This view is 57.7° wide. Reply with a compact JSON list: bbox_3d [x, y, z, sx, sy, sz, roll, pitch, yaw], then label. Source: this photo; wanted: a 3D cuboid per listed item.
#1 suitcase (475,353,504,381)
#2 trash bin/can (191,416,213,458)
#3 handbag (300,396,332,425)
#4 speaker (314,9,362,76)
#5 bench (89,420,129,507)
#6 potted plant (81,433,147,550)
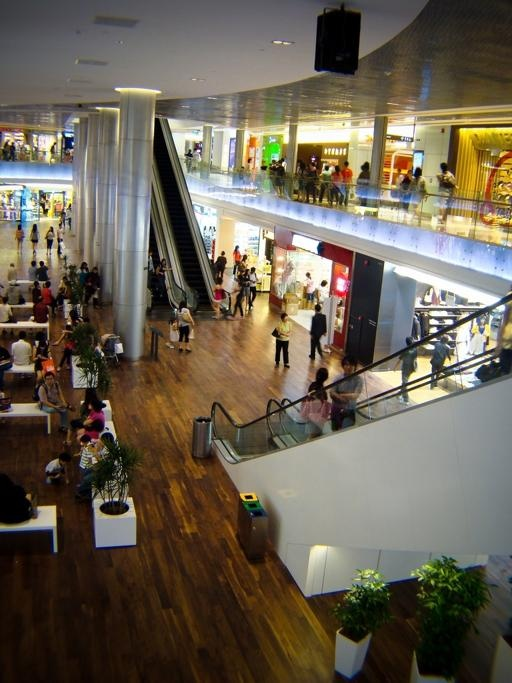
[{"bbox_3d":[1.435,0.163,2.876,0.039,0.151,0.109,19,31,-35],"label":"suitcase"},{"bbox_3d":[-0.861,1.578,7.622,0.329,0.658,0.218,6,5,-6],"label":"trash bin/can"},{"bbox_3d":[0.632,0.711,4.797,0.171,0.292,0.139,-3,-11,38],"label":"handbag"},{"bbox_3d":[0.532,-1.981,3.050,0.286,0.454,0.217,7,5,6],"label":"speaker"},{"bbox_3d":[-1.659,1.494,5.413,0.411,0.770,0.954,5,5,-18],"label":"bench"},{"bbox_3d":[-1.649,1.721,5.336,0.408,1.014,0.942,0,-4,-29],"label":"potted plant"}]
